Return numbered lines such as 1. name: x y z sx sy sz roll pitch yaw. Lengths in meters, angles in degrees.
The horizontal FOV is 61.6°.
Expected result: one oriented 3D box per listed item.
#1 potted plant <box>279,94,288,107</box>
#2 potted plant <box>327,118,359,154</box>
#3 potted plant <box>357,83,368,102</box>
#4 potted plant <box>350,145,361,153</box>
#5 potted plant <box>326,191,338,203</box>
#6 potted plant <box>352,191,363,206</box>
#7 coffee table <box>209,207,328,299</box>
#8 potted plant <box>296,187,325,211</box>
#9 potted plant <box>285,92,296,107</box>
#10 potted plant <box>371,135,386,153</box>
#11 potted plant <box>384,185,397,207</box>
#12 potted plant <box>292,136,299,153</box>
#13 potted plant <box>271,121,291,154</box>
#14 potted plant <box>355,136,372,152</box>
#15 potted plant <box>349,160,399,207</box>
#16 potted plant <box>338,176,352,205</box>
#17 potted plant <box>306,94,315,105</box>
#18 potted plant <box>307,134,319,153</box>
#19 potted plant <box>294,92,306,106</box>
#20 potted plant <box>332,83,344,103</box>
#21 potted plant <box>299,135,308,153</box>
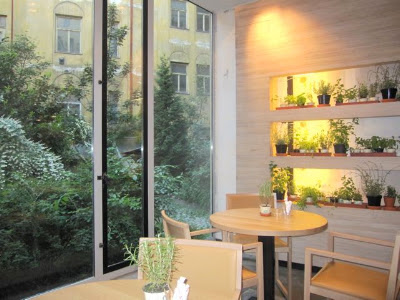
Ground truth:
1. potted plant: 1.173 -0.709 4.883 0.182 0.168 0.176 -3 0 7
2. potted plant: 1.877 -0.201 4.634 0.485 0.530 0.434 5 3 38
3. potted plant: 2.108 -0.754 4.335 0.123 0.246 0.221 1 3 25
4. potted plant: 2.018 -0.013 4.368 0.140 0.093 0.104 -2 2 22
5. potted plant: 1.760 0.633 4.463 0.141 0.106 0.149 1 1 27
6. potted plant: 2.025 0.633 4.305 0.138 0.137 0.135 2 4 43
7. coffee table: 0.715 0.991 3.350 1.025 0.720 1.022 2 7 35
8. potted plant: 1.502 0.663 4.586 0.308 0.260 0.318 -1 -3 30
9. potted plant: 1.276 -0.687 4.730 0.154 0.162 0.096 1 3 21
10. potted plant: 2.244 -0.066 4.212 0.112 0.195 0.151 -1 3 -11
11. potted plant: 2.374 0.579 4.177 0.143 0.240 0.306 2 3 30
12. potted plant: 1.361 -0.069 4.735 0.079 0.209 0.174 1 3 13
13. potted plant: 1.171 -0.162 4.818 0.288 0.462 0.196 1 3 14
14. potted plant: 2.111 -0.073 4.336 0.184 0.202 0.257 1 3 21
15. potted plant: 2.206 0.404 4.271 0.591 0.551 0.524 -1 1 -32
16. potted plant: 1.932 0.545 4.481 0.222 0.326 0.151 -6 -32 11
17. potted plant: 1.542 -0.706 4.695 0.108 0.187 0.238 1 3 17
18. potted plant: 1.577 -0.091 4.634 0.121 0.244 0.224 1 3 19
19. potted plant: 1.384 -0.705 4.677 0.183 0.169 0.177 -7 7 -4
20. potted plant: 1.856 -0.751 4.495 0.139 0.283 0.289 1 3 23
21. potted plant: 1.435 -0.066 4.675 0.093 0.210 0.207 1 3 16
